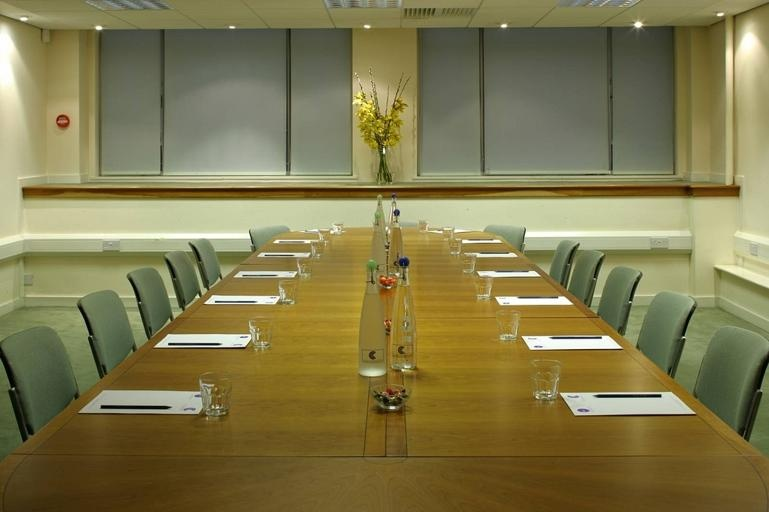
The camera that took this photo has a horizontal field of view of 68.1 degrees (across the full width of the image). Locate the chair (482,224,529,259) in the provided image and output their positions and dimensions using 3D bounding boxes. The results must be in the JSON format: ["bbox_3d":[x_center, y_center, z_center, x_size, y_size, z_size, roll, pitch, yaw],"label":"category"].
[{"bbox_3d":[1.171,-0.155,5.591,0.299,0.335,0.382,1,-92,30],"label":"chair"}]

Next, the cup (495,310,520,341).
[{"bbox_3d":[0.558,0.310,2.572,0.125,0.128,0.136,0,-91,43],"label":"cup"}]

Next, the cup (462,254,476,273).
[{"bbox_3d":[0.570,0.058,3.921,0.114,0.113,0.134,0,-92,-3],"label":"cup"}]

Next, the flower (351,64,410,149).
[{"bbox_3d":[-0.013,-1.740,6.906,0.577,0.533,0.745,-3,-93,-25],"label":"flower"}]

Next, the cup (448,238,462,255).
[{"bbox_3d":[0.551,-0.083,4.496,0.125,0.123,0.133,0,-90,0],"label":"cup"}]

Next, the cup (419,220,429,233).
[{"bbox_3d":[0.393,-0.309,5.599,0.097,0.099,0.104,0,-91,-10],"label":"cup"}]

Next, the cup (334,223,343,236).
[{"bbox_3d":[-0.449,-0.275,5.683,0.105,0.105,0.117,0,-90,27],"label":"cup"}]

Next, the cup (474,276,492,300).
[{"bbox_3d":[0.561,0.181,3.207,0.116,0.114,0.124,0,-93,-2],"label":"cup"}]

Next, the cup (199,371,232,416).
[{"bbox_3d":[-0.578,0.467,1.967,0.134,0.135,0.148,0,-90,-3],"label":"cup"}]

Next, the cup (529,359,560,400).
[{"bbox_3d":[0.580,0.444,2.058,0.128,0.135,0.141,0,-93,5],"label":"cup"}]

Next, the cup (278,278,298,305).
[{"bbox_3d":[-0.532,0.198,3.138,0.117,0.119,0.131,0,-90,-3],"label":"cup"}]

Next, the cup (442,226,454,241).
[{"bbox_3d":[0.578,-0.208,5.147,0.121,0.115,0.160,2,-83,14],"label":"cup"}]

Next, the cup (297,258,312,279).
[{"bbox_3d":[-0.523,0.079,3.767,0.106,0.111,0.119,1,-92,-2],"label":"cup"}]

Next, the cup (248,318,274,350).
[{"bbox_3d":[-0.537,0.351,2.552,0.124,0.125,0.135,0,-94,-3],"label":"cup"}]

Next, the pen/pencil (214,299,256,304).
[{"bbox_3d":[-0.834,0.251,3.194,0.189,0.014,0.014,1,-68,-3],"label":"pen/pencil"}]
